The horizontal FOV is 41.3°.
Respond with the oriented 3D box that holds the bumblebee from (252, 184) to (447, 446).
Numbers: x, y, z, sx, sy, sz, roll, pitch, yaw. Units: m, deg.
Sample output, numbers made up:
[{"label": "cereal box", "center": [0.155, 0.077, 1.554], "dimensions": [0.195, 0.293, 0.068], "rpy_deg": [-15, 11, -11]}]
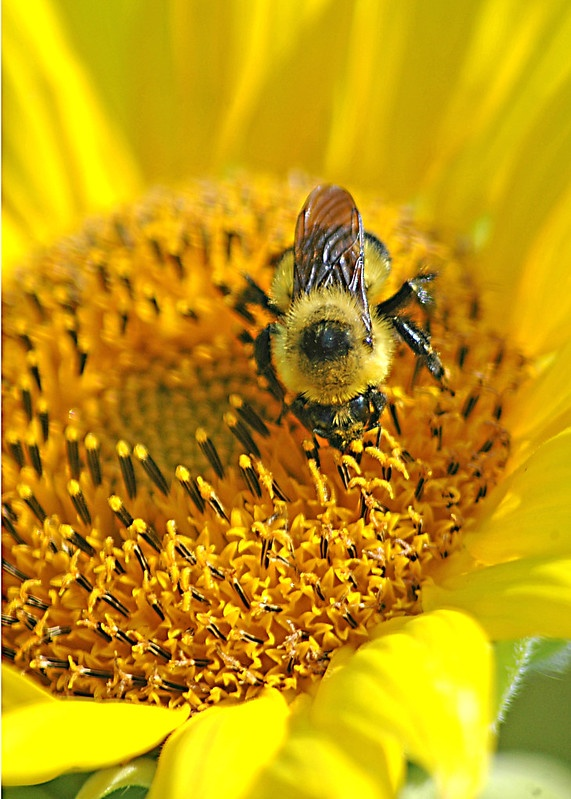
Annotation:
[{"label": "bumblebee", "center": [0.061, -0.084, 0.921], "dimensions": [0.231, 0.092, 0.294], "rpy_deg": [-1, 73, 9]}]
